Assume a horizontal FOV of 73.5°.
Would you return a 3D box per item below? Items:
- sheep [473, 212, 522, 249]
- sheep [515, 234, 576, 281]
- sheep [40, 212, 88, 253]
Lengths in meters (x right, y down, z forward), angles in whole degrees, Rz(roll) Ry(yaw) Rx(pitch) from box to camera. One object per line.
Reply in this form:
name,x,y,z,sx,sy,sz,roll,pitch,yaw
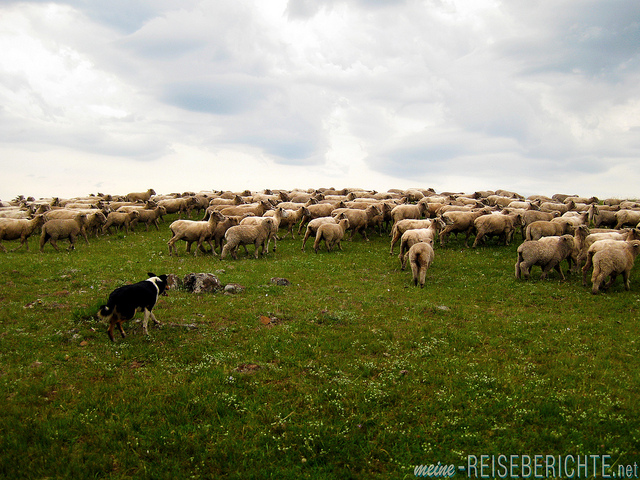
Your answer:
sheep,12.640,-0.826,30.407,4.118,2.107,1.028,-4,7,-12
sheep,12.283,0.851,23.338,3.490,2.393,1.217,1,-4,-8
sheep,-17.532,-0.583,29.249,1.197,2.535,3.452,5,8,31
